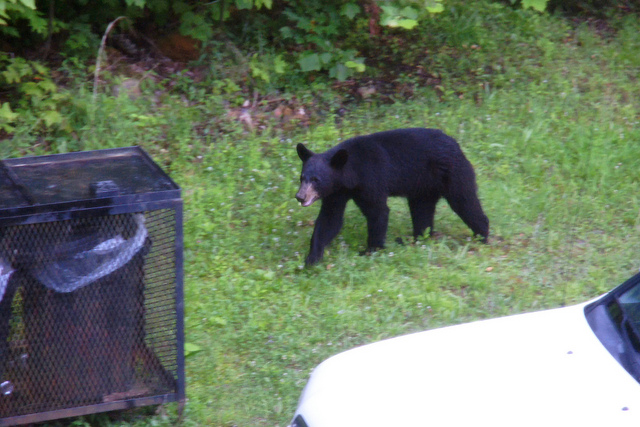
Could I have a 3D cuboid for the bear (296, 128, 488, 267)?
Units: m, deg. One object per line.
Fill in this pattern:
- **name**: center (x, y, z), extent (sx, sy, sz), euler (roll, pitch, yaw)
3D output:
- **bear**: center (0.750, -0.236, 7.125), extent (2.137, 1.424, 0.915), euler (1, 30, -11)
